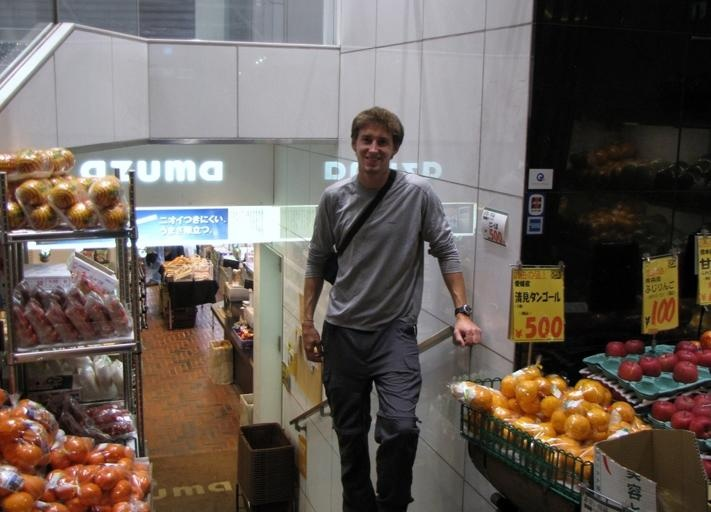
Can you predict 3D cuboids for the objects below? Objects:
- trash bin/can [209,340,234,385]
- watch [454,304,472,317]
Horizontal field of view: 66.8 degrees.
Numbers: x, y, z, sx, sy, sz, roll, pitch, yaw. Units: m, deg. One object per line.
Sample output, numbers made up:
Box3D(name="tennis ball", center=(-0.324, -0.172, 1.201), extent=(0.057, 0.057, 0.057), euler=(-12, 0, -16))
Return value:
Box3D(name="trash bin/can", center=(-2.422, 1.928, 9.792), extent=(0.394, 0.732, 0.432), euler=(0, 11, -14))
Box3D(name="watch", center=(0.549, 0.280, 2.803), extent=(0.090, 0.060, 0.088), euler=(2, -15, -29))
